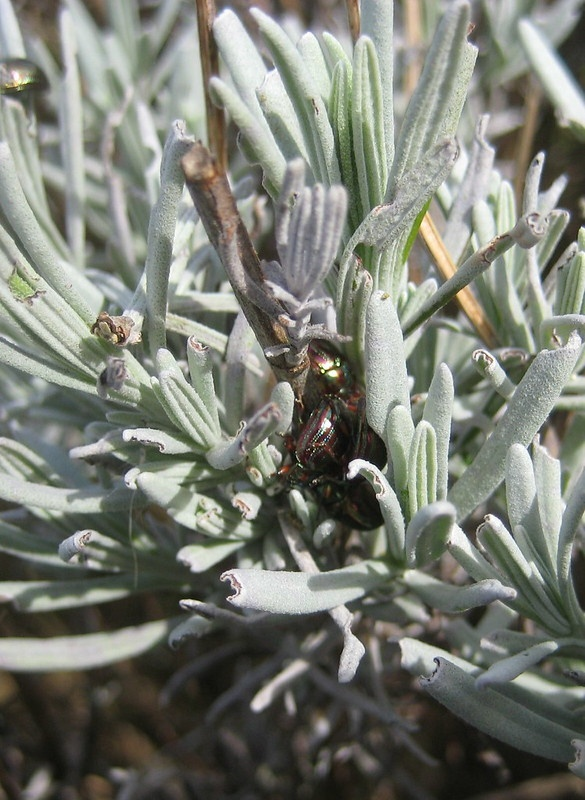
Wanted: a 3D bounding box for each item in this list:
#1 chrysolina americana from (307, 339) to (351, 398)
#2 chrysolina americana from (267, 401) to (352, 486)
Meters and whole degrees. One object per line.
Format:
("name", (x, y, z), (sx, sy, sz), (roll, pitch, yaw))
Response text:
("chrysolina americana", (0.024, -0.020, 0.582), (0.023, 0.014, 0.042), (-27, 80, -42))
("chrysolina americana", (0.019, 0.035, 0.573), (0.037, 0.062, 0.041), (25, 41, 16))
